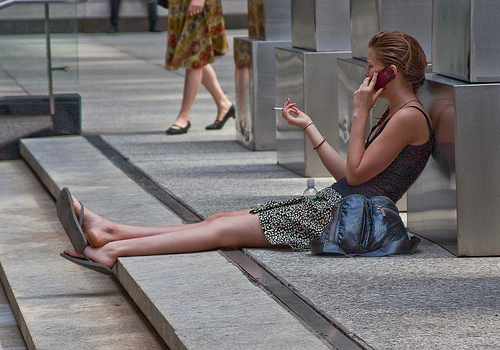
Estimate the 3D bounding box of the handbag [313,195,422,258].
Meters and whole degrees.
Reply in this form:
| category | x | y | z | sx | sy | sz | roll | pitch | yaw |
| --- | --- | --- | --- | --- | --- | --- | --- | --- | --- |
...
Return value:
| category | x | y | z | sx | sy | sz | roll | pitch | yaw |
| --- | --- | --- | --- | --- | --- | --- | --- | --- | --- |
| handbag | 0.686 | 0.350 | 4.639 | 0.650 | 0.391 | 0.895 | 3 | -9 | 22 |

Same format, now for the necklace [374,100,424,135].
| category | x | y | z | sx | sy | sz | roll | pitch | yaw |
| --- | --- | --- | --- | --- | --- | --- | --- | --- | --- |
| necklace | 0.870 | -0.348 | 4.540 | 0.261 | 0.220 | 0.231 | 7 | 15 | 26 |

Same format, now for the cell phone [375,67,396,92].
| category | x | y | z | sx | sy | sz | roll | pitch | yaw |
| --- | --- | --- | --- | --- | --- | --- | --- | --- | --- |
| cell phone | 0.787 | -0.577 | 4.467 | 0.014 | 0.073 | 0.129 | -9 | -21 | -42 |

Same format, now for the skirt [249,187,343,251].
| category | x | y | z | sx | sy | sz | roll | pitch | yaw |
| --- | --- | --- | --- | --- | --- | --- | --- | --- | --- |
| skirt | 0.301 | 0.273 | 4.530 | 0.448 | 0.343 | 0.194 | -8 | -31 | -5 |

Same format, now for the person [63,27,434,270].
| category | x | y | z | sx | sy | sz | roll | pitch | yaw |
| --- | --- | --- | --- | --- | --- | --- | --- | --- | --- |
| person | 0.007 | -0.170 | 4.624 | 2.172 | 1.415 | 0.721 | 0 | 13 | -4 |

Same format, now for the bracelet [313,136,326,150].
| category | x | y | z | sx | sy | sz | roll | pitch | yaw |
| --- | --- | --- | --- | --- | --- | --- | --- | --- | --- |
| bracelet | 0.420 | -0.194 | 4.736 | 0.067 | 0.014 | 0.071 | -37 | 8 | 41 |

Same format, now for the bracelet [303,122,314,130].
| category | x | y | z | sx | sy | sz | roll | pitch | yaw |
| --- | --- | --- | --- | --- | --- | --- | --- | --- | --- |
| bracelet | 0.362 | -0.312 | 4.788 | 0.058 | 0.014 | 0.061 | -42 | -2 | 18 |
